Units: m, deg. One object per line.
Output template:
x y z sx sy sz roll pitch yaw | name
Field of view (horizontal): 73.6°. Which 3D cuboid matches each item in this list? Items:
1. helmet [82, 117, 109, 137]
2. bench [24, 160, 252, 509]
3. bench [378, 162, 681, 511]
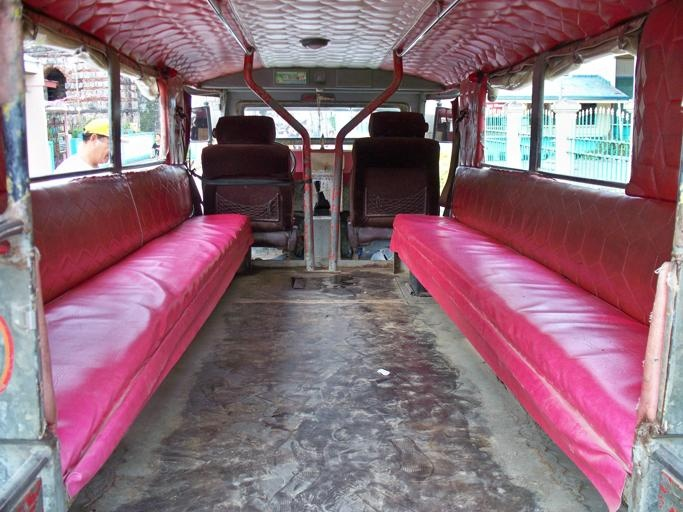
-1.912 -1.010 3.568 0.110 0.091 0.172 14 27 36 | helmet
-1.008 0.374 2.281 0.484 0.553 1.752 12 16 -10 | bench
0.924 0.391 2.280 0.518 0.636 1.762 -3 15 -2 | bench
